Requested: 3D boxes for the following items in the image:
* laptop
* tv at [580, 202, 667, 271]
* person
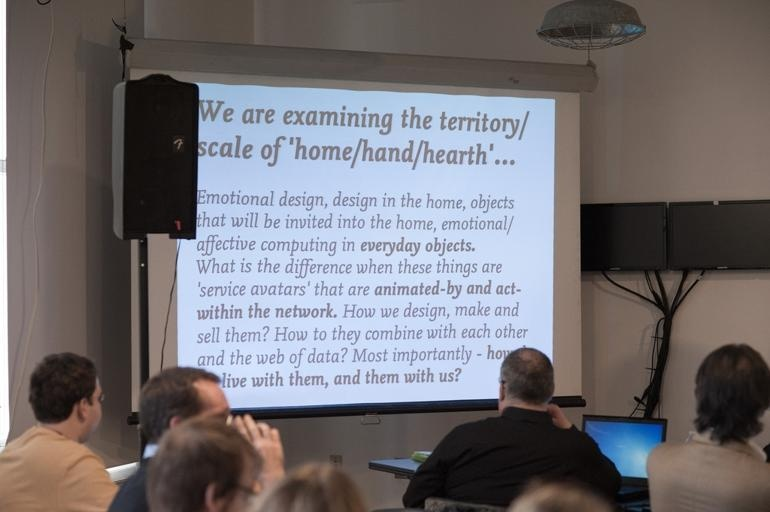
[{"bbox_3d":[1.471,1.220,5.518,0.509,0.554,0.437,-1,-13,10],"label":"laptop"},{"bbox_3d":[1.731,-0.143,6.356,0.434,0.385,0.047,0,1,6],"label":"tv"},{"bbox_3d":[0.040,0.859,4.366,3.585,0.859,1.190,3,0,-11],"label":"person"}]
